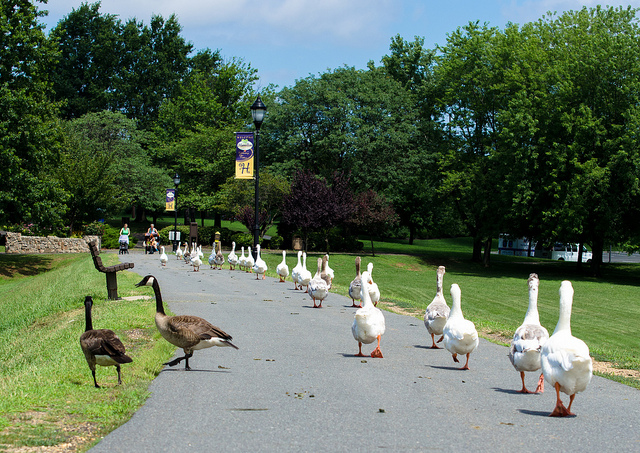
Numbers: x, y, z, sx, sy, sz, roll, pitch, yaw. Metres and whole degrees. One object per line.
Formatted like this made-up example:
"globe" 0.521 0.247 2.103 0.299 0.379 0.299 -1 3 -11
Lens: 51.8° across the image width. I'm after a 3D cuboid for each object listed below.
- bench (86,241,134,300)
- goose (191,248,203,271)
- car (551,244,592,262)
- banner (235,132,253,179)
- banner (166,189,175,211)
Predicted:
"bench" -8.755 1.695 27.251 1.401 2.138 2.942 -1 9 -21
"goose" -7.351 2.017 39.103 0.522 1.247 1.464 0 9 -13
"car" 28.823 3.048 75.503 4.915 2.553 2.080 0 1 9
"banner" -4.317 -4.125 37.764 0.959 2.506 1.277 1 9 -8
"banner" -13.346 -2.381 59.202 0.533 1.859 1.854 -1 9 -20
